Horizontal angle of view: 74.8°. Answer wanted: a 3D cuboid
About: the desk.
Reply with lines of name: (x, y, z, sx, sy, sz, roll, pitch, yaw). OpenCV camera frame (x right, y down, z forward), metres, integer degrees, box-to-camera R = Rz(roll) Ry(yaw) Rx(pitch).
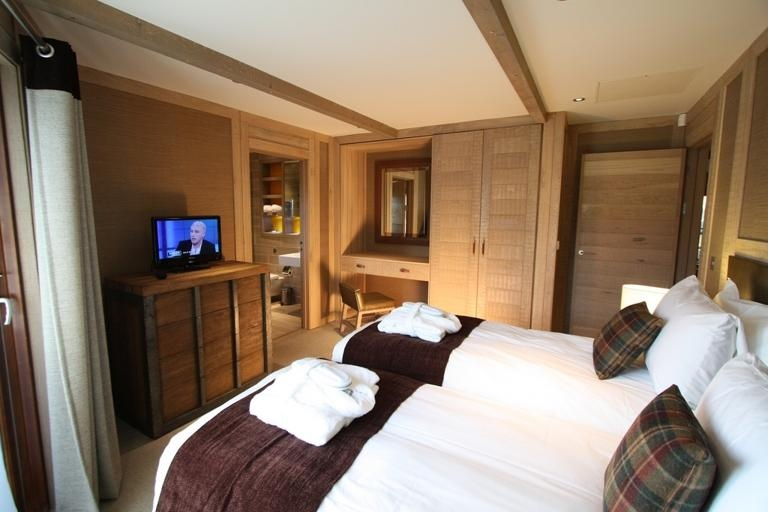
desk: (-1.757, 0.743, 4.547, 0.751, 1.209, 1.342, 7, 11, 30)

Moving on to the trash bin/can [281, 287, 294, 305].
trash bin/can: (-1.423, 0.596, 7.367, 0.249, 0.214, 0.239, 0, 3, 12)

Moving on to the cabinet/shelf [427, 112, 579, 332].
cabinet/shelf: (1.300, -0.341, 5.880, 1.385, 2.435, 0.824, 13, 32, 28)

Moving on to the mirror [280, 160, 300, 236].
mirror: (-1.270, -0.801, 6.938, 0.374, 1.021, 0.179, 9, 12, 43)

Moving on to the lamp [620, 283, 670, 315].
lamp: (2.079, 0.338, 3.989, 0.296, 0.206, 0.281, -4, -5, 41)

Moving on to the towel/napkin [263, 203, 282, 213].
towel/napkin: (-1.602, -0.672, 7.166, 0.198, 0.066, 0.152, 0, 1, 11)

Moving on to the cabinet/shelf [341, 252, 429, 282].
cabinet/shelf: (0.041, 0.160, 6.253, 1.267, 0.299, 0.310, 6, 9, 31)

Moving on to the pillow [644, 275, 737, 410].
pillow: (1.904, 0.557, 3.105, 0.297, 0.576, 0.858, 9, 2, 19)

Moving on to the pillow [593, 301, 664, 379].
pillow: (1.738, 0.612, 3.665, 0.441, 0.472, 0.707, 2, 10, 22)
